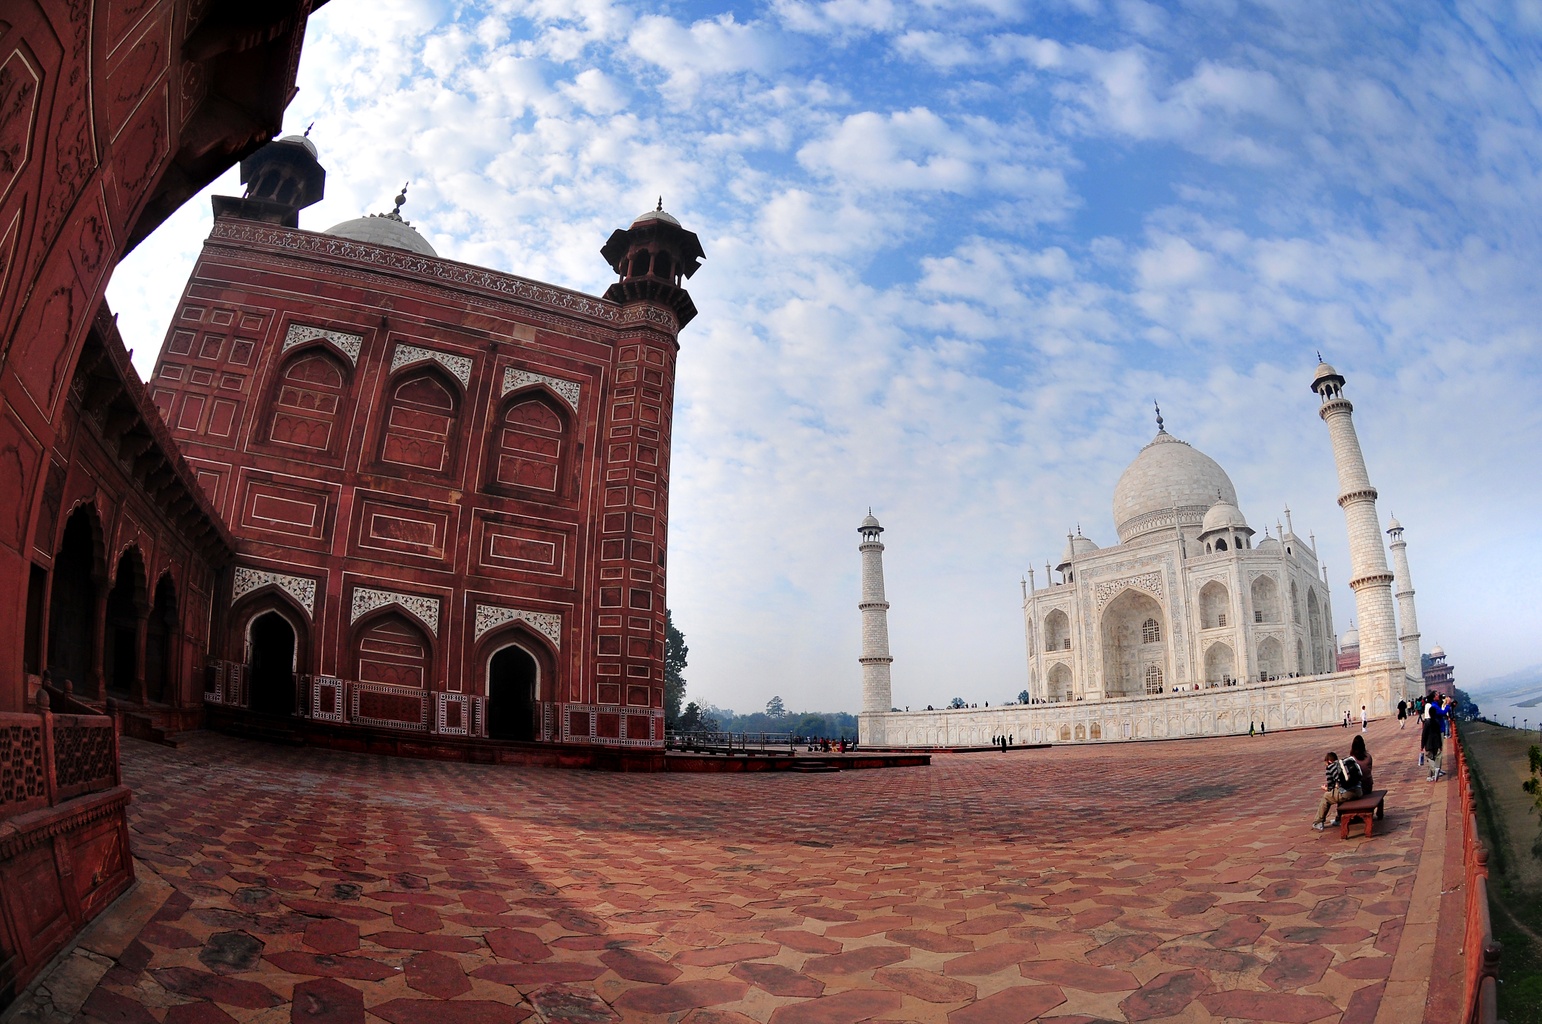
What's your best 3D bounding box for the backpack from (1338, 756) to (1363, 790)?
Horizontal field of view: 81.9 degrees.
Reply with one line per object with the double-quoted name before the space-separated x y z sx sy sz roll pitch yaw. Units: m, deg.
"backpack" 4.428 1.998 6.805 0.206 0.258 0.150 -1 -14 7
